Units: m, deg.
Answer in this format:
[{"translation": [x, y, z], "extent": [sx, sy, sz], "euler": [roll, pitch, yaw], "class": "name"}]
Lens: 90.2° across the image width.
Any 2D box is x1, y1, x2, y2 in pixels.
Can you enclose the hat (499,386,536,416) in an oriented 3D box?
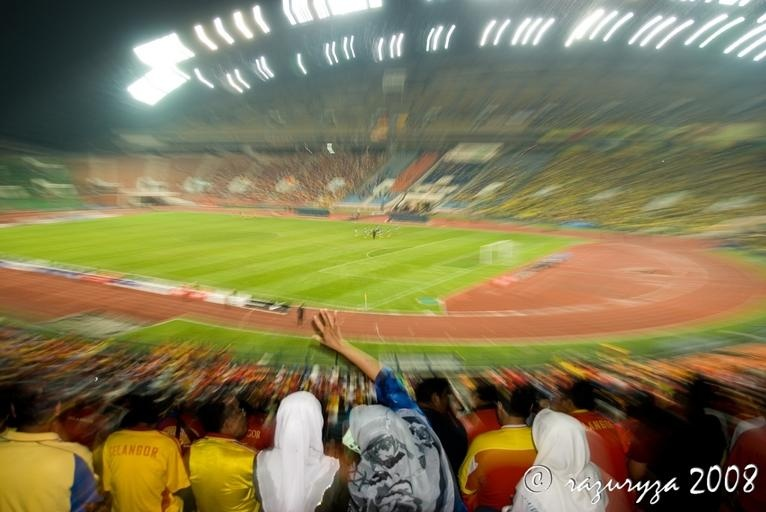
[{"translation": [1.299, 1.488, 3.777], "extent": [0.309, 0.362, 0.474], "euler": [-4, -7, 16], "class": "hat"}]
